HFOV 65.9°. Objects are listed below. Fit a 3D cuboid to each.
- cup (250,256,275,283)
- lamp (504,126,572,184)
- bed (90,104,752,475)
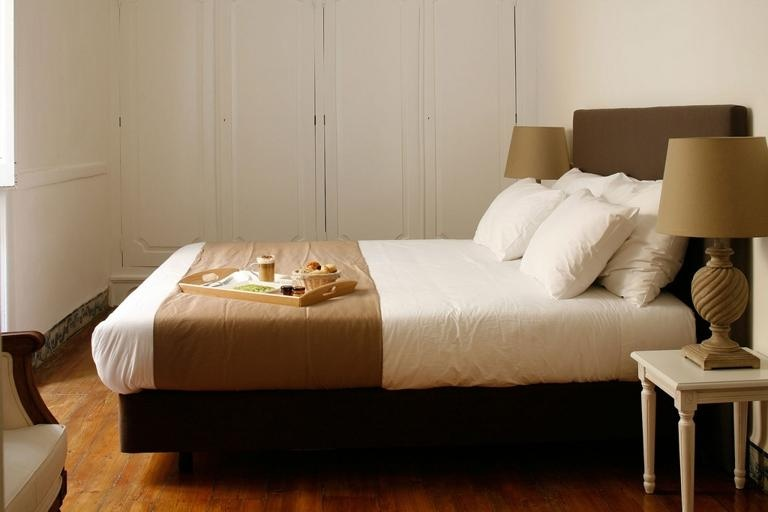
[{"bbox_3d":[-0.653,0.069,3.341,0.157,0.159,0.094,-3,6,-34],"label":"cup"},{"bbox_3d":[1.140,-0.805,4.638,0.438,0.495,0.421,-5,14,-12],"label":"lamp"},{"bbox_3d":[0.201,-0.142,3.322,2.414,1.516,2.037,-1,3,-4],"label":"bed"}]
